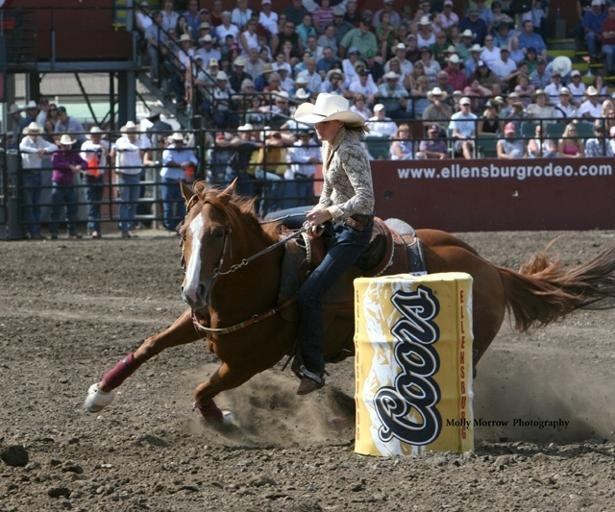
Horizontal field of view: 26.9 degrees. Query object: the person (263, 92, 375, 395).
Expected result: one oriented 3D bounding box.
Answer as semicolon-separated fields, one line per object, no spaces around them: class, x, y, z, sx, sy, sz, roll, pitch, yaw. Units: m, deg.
person;0.277;-0.128;13.332;0.788;2.980;0.959;2;14;8
